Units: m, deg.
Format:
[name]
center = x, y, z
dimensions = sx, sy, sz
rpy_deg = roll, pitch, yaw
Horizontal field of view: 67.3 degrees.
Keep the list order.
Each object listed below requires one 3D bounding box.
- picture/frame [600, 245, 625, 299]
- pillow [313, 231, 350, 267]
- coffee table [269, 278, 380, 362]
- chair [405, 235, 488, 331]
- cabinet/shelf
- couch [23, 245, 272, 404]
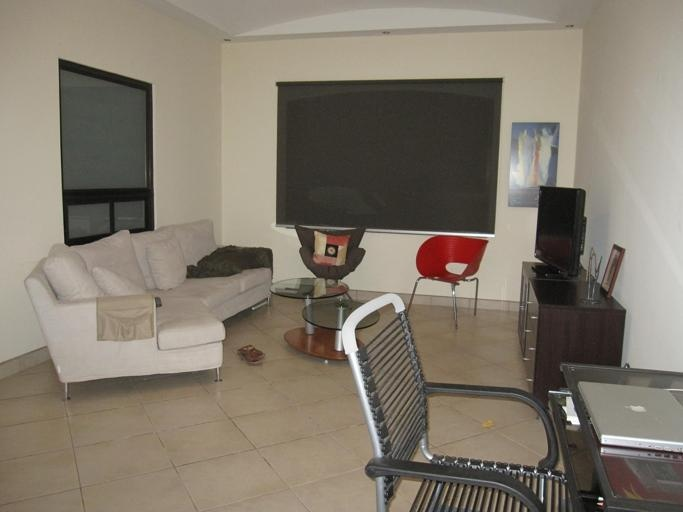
[picture/frame]
center = 2.192, 0.143, 4.144
dimensions = 0.033, 0.394, 0.451
rpy_deg = 13, 6, 22
[pillow]
center = -0.121, -0.080, 6.274
dimensions = 0.431, 0.367, 0.289
rpy_deg = 2, 14, 2
[coffee table]
center = -0.195, 0.600, 5.062
dimensions = 0.686, 0.482, 0.915
rpy_deg = -7, 10, -36
[chair]
center = 1.370, 0.300, 6.550
dimensions = 0.819, 1.141, 0.947
rpy_deg = 4, -3, 2
[cabinet/shelf]
center = 1.601, 0.540, 3.549
dimensions = 0.370, 0.531, 1.075
rpy_deg = 3, 12, 16
[couch]
center = -1.752, 0.399, 4.809
dimensions = 1.663, 1.100, 1.669
rpy_deg = -2, 14, -16
